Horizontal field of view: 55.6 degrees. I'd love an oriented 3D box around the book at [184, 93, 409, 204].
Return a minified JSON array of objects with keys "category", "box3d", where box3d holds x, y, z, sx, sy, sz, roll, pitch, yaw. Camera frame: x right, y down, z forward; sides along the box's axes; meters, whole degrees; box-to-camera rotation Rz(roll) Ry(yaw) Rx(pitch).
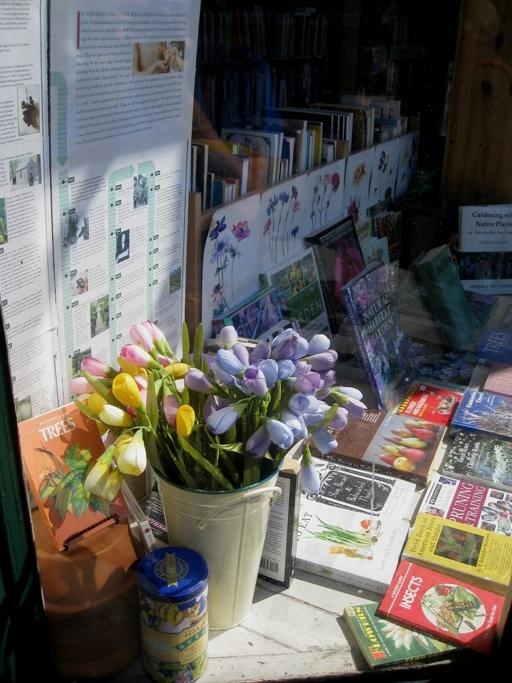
[{"category":"book","box3d":[0.101,-0.507,1.267,0.118,0.150,0.410,22,38,30]}]
